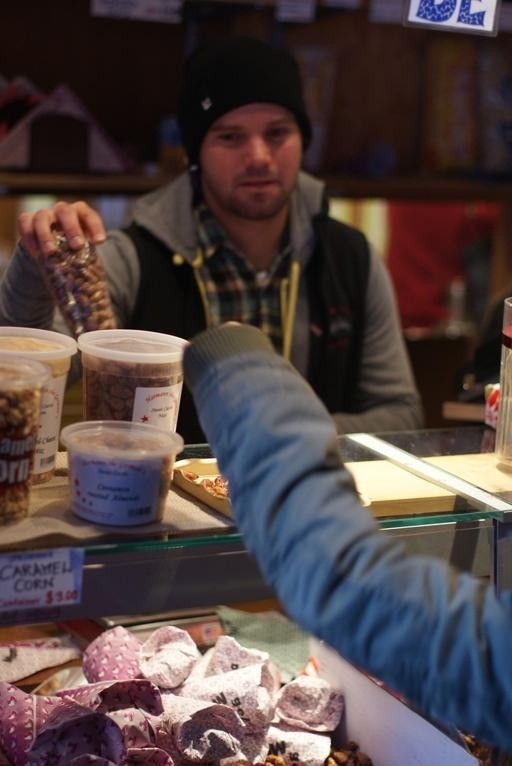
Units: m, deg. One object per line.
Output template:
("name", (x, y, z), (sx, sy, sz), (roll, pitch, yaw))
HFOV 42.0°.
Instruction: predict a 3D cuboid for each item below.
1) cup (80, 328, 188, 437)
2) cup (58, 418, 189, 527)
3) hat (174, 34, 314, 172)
("cup", (-0.133, 0.008, 0.735), (0.119, 0.121, 0.117), (6, 16, -2))
("cup", (-0.116, 0.077, 0.619), (0.101, 0.059, 0.093), (5, 13, -1))
("hat", (0.021, -0.598, 1.367), (0.201, 0.155, 0.214), (7, -1, 36))
